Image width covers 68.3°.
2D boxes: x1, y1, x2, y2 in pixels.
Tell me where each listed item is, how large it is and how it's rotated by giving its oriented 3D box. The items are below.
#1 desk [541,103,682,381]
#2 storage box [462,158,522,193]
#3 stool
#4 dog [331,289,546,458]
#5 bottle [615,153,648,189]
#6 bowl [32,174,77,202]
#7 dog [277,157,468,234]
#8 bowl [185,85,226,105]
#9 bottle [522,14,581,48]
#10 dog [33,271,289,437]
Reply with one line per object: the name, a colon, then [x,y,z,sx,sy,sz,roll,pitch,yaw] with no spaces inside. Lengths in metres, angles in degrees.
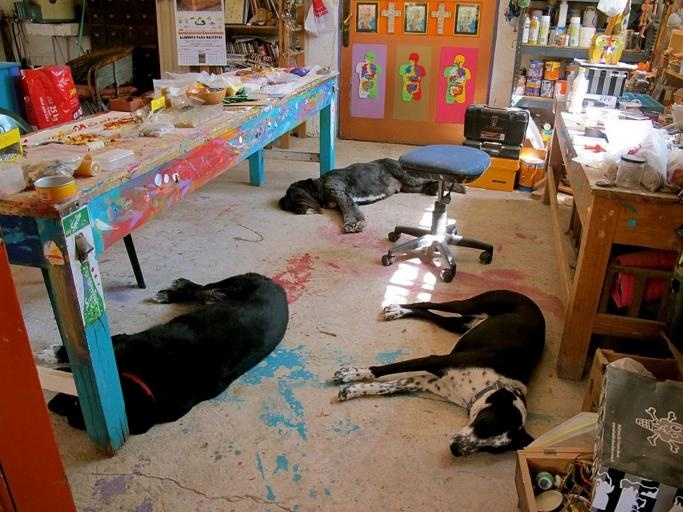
desk: [1.394,-0.144,2.774,0.427,1.038,1.532,8,23,15]
storage box: [1.382,-0.710,4.499,0.383,0.211,0.361,9,36,16]
stool: [0.645,-0.322,3.296,0.807,0.664,0.638,17,30,30]
dog: [0.458,0.449,2.230,0.803,0.352,0.955,9,23,18]
bottle: [1.193,-0.345,2.070,0.095,0.119,0.139,14,26,28]
bowl: [-0.908,-0.214,1.605,0.113,0.067,0.123,1,22,0]
dog: [0.269,-0.436,3.826,0.998,0.289,0.354,-26,67,-33]
bowl: [-0.730,-0.889,2.729,0.152,0.056,0.144,0,29,0]
bottle: [1.932,-2.050,4.597,0.385,0.199,0.192,3,35,6]
dog: [-0.731,0.396,2.221,1.087,0.526,0.447,-35,-3,-28]
